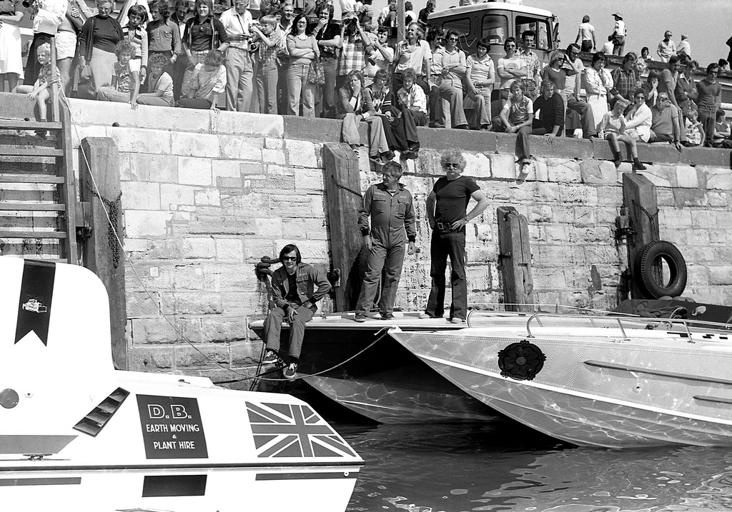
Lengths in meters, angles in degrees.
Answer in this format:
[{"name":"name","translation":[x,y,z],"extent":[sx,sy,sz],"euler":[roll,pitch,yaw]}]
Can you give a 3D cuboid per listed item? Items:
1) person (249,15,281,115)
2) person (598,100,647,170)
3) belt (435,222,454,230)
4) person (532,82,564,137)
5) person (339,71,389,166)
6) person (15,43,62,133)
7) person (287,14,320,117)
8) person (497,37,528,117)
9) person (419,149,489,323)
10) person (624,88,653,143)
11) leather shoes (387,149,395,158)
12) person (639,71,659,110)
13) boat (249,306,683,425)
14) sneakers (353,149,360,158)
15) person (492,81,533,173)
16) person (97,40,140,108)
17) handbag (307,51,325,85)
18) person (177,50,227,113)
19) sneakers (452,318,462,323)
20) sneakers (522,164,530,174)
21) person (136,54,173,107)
[{"name":"person","translation":[-1.606,-3.058,19.723],"extent":[0.477,1.562,0.222],"euler":[-1,1,-3]},{"name":"person","translation":[4.669,-2.257,22.836],"extent":[0.829,1.321,0.567],"euler":[-1,1,-31]},{"name":"belt","translation":[1.071,-0.414,17.132],"extent":[0.144,0.057,0.111],"euler":[7,-5,-41]},{"name":"person","translation":[3.249,-2.627,22.133],"extent":[0.564,1.011,0.511],"euler":[-1,1,7]},{"name":"person","translation":[-0.068,-2.231,20.025],"extent":[0.858,1.503,0.565],"euler":[-1,1,-15]},{"name":"person","translation":[-4.790,-2.433,17.906],"extent":[0.605,1.445,0.903],"euler":[-1,1,-15]},{"name":"person","translation":[-1.083,-3.066,19.931],"extent":[0.532,1.595,0.296],"euler":[-1,1,-22]},{"name":"person","translation":[2.705,-3.044,22.806],"extent":[0.676,1.849,0.487],"euler":[-1,8,15]},{"name":"person","translation":[1.249,-0.299,17.232],"extent":[0.650,2.377,1.066],"euler":[-1,1,-21]},{"name":"person","translation":[4.976,-2.629,23.120],"extent":[0.785,0.917,0.563],"euler":[4,14,10]},{"name":"leather shoes","translation":[0.384,-1.652,20.030],"extent":[0.124,0.109,0.208],"euler":[3,7,3]},{"name":"person","translation":[5.528,-3.148,23.814],"extent":[0.329,0.257,0.876],"euler":[-10,-40,13]},{"name":"boat","translation":[1.465,1.696,17.240],"extent":[4.685,1.252,2.052],"euler":[2,-4,-14]},{"name":"sneakers","translation":[-0.173,-1.645,19.760],"extent":[0.135,0.127,0.138],"euler":[1,5,4]},{"name":"person","translation":[2.590,-2.244,21.855],"extent":[0.722,1.712,0.912],"euler":[-1,1,6]},{"name":"person","translation":[-3.752,-2.717,18.537],"extent":[0.625,1.059,0.490],"euler":[-1,1,-11]},{"name":"handbag","translation":[-0.848,-3.029,20.028],"extent":[0.169,0.573,0.503],"euler":[15,22,40]},{"name":"person","translation":[-2.559,-2.736,19.175],"extent":[0.766,0.921,0.448],"euler":[-1,1,-12]},{"name":"sneakers","translation":[1.212,0.864,16.769],"extent":[0.147,0.068,0.161],"euler":[-1,1,4]},{"name":"sneakers","translation":[2.749,-1.519,21.432],"extent":[0.177,0.148,0.393],"euler":[-2,1,15]},{"name":"person","translation":[-3.270,-2.710,18.944],"extent":[0.421,0.826,0.729],"euler":[0,1,36]}]
